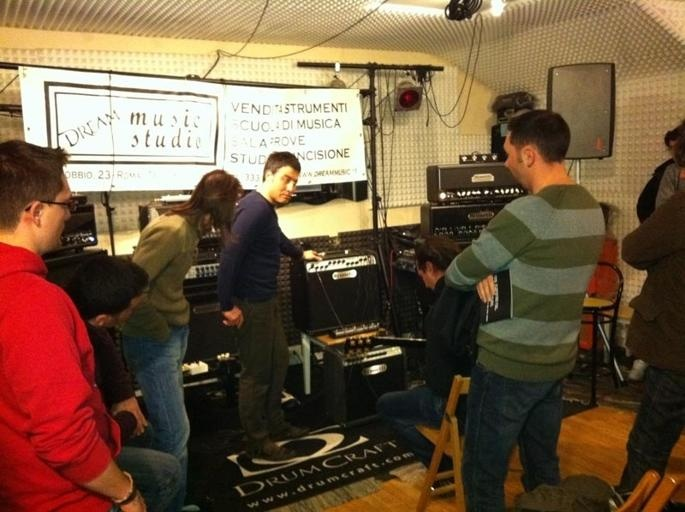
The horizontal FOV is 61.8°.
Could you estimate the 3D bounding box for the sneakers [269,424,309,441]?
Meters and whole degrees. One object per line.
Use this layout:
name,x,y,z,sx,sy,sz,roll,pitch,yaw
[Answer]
sneakers,-0.444,1.441,4.723,0.337,0.140,0.114,-6,7,-17

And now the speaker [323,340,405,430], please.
speaker,0.171,1.065,4.684,0.793,0.767,0.440,-3,3,-28

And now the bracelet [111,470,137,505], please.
bracelet,-0.884,0.932,2.352,0.104,0.077,0.141,0,44,-3

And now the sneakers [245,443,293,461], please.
sneakers,-0.562,1.505,4.450,0.396,0.166,0.139,0,3,1

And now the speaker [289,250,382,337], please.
speaker,-0.055,0.193,5.464,0.981,0.959,0.636,-5,7,-20

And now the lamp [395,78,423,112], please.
lamp,0.691,-1.698,6.100,0.274,0.292,0.255,-3,13,-3

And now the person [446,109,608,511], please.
person,0.982,0.316,3.126,0.772,2.146,0.455,-7,13,-19

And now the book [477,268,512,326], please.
book,0.820,0.223,3.019,0.090,0.303,0.188,-11,16,-34

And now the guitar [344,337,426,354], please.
guitar,0.436,0.663,4.244,0.560,0.085,0.277,-1,0,-36
